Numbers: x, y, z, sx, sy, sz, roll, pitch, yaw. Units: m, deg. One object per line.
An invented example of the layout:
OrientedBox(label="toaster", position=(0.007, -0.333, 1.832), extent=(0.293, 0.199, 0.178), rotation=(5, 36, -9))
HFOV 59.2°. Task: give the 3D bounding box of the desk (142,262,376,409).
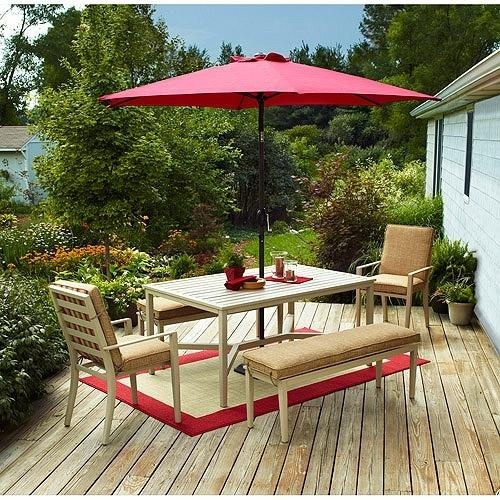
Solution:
OrientedBox(label="desk", position=(-0.139, 0.390, 3.739), extent=(1.869, 0.774, 1.155), rotation=(-6, 8, -44))

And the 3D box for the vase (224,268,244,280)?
OrientedBox(label="vase", position=(-0.135, 0.193, 3.822), extent=(0.118, 0.103, 0.138), rotation=(1, 2, 38))

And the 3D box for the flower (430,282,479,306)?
OrientedBox(label="flower", position=(2.495, 0.530, 5.394), extent=(0.347, 0.205, 0.350), rotation=(-2, 3, 41))

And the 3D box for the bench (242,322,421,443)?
OrientedBox(label="bench", position=(0.627, 0.917, 3.210), extent=(1.394, 0.517, 0.438), rotation=(-4, 5, -33))

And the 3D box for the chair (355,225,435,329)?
OrientedBox(label="chair", position=(1.785, 0.364, 5.352), extent=(0.835, 1.210, 0.750), rotation=(-11, 13, -41))

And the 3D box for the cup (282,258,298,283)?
OrientedBox(label="cup", position=(0.360, 0.184, 3.938), extent=(0.190, 0.238, 0.171), rotation=(2, 8, 10))

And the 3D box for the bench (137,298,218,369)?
OrientedBox(label="bench", position=(-0.788, 0.750, 4.122), extent=(0.610, 0.281, 0.388), rotation=(-8, 13, -44))

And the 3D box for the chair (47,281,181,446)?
OrientedBox(label="chair", position=(-0.919, 0.733, 3.066), extent=(0.776, 0.930, 0.798), rotation=(0, 2, 21))

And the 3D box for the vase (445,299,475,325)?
OrientedBox(label="vase", position=(2.529, 0.757, 5.298), extent=(0.300, 0.219, 0.291), rotation=(1, 4, 11))
